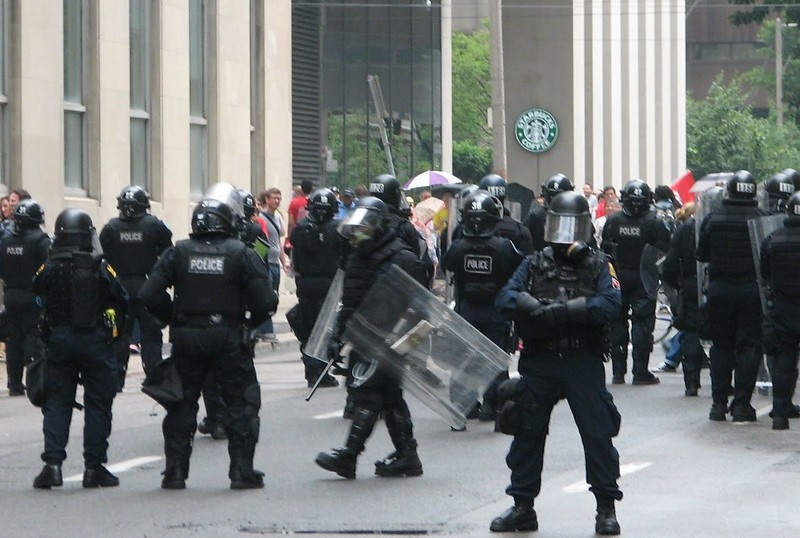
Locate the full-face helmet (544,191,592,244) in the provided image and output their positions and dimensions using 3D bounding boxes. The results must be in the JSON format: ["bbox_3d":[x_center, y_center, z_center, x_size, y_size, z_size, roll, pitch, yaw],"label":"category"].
[{"bbox_3d":[1.726,-0.524,16.865,0.585,0.489,0.578,0,-3,22],"label":"full-face helmet"}]

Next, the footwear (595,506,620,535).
[{"bbox_3d":[2.150,2.591,16.521,0.261,0.318,0.193,-2,5,5],"label":"footwear"}]

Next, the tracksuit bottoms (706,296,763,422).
[{"bbox_3d":[4.386,1.048,20.498,0.846,1.680,0.741,-3,-11,38],"label":"tracksuit bottoms"}]

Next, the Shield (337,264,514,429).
[{"bbox_3d":[0.292,0.834,18.280,2.171,1.133,0.210,36,12,1],"label":"Shield"}]

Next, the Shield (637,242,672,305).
[{"bbox_3d":[3.579,0.022,22.529,0.396,0.615,0.534,5,-3,-12],"label":"Shield"}]
